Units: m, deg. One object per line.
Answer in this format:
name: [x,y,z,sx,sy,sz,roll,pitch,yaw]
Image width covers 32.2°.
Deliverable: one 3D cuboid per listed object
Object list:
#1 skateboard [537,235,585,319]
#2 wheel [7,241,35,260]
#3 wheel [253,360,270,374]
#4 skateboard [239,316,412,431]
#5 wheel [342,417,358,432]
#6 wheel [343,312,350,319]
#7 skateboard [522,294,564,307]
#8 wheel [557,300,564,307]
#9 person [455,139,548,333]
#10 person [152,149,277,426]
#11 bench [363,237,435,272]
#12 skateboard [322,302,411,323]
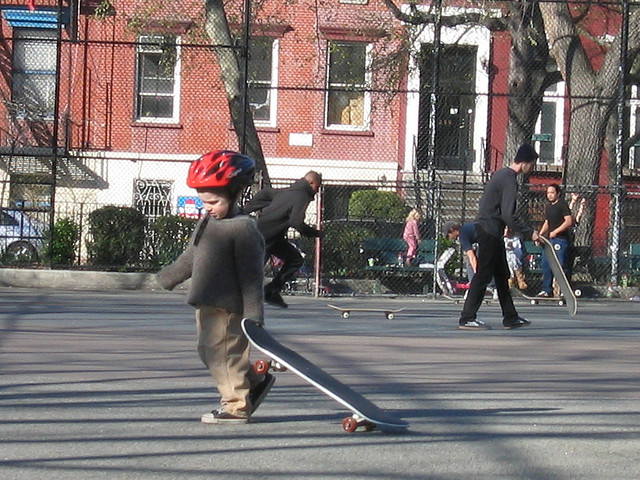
skateboard: [4.045,0.676,18.673,0.188,1.302,0.308,-31,2,-26]
wheel: [-5.227,0.195,19.289,0.349,0.339,0.081,6,-3,-3]
wheel: [-0.535,1.214,10.468,0.134,0.136,0.049,14,13,25]
skateboard: [0.058,1.459,11.736,1.346,0.226,0.383,37,13,9]
wheel: [0.289,1.760,10.498,0.105,0.106,0.057,40,23,15]
wheel: [0.414,1.131,16.534,0.090,0.131,0.070,0,5,-16]
skateboard: [3.916,1.046,19.188,0.537,0.147,0.272,0,0,5]
wheel: [4.207,1.108,19.320,0.050,0.130,0.127,0,1,-33]
person: [2.418,-0.025,15.352,1.317,2.517,0.952,0,2,-26]
person: [-0.911,0.485,10.520,0.905,2.621,0.518,5,9,20]
bench: [1.472,0.253,20.663,1.375,0.583,0.953,2,9,-2]
skateboard: [0.606,1.186,16.799,1.692,0.314,0.420,0,0,-6]
